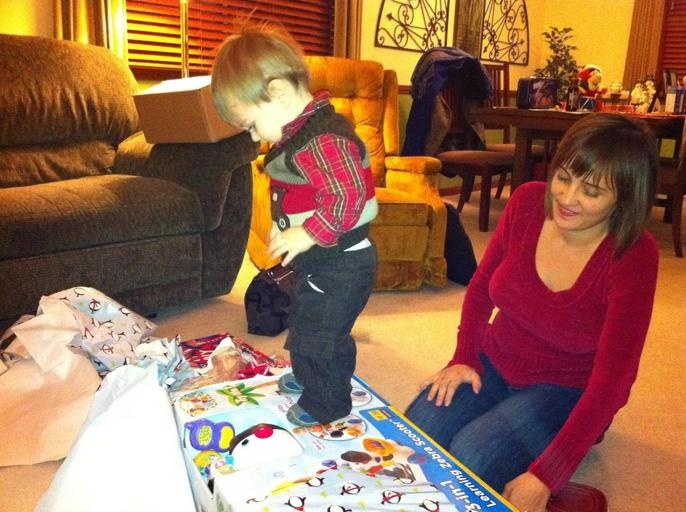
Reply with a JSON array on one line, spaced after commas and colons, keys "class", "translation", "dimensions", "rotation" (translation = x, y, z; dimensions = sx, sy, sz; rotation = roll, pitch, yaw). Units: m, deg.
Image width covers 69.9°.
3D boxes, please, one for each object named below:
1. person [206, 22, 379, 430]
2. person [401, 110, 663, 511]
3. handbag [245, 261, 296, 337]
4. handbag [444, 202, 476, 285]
[{"class": "person", "translation": [-0.111, -0.097, 1.286], "dimensions": [0.409, 0.961, 0.310], "rotation": [12, 16, 33]}, {"class": "person", "translation": [0.481, 0.102, 1.248], "dimensions": [0.443, 0.906, 0.484], "rotation": [-7, 17, -35]}, {"class": "handbag", "translation": [-0.341, 0.202, 2.172], "dimensions": [0.236, 0.312, 0.308], "rotation": [4, 30, 0]}, {"class": "handbag", "translation": [0.679, -0.061, 2.840], "dimensions": [0.120, 0.384, 0.344], "rotation": [-2, 4, 28]}]
